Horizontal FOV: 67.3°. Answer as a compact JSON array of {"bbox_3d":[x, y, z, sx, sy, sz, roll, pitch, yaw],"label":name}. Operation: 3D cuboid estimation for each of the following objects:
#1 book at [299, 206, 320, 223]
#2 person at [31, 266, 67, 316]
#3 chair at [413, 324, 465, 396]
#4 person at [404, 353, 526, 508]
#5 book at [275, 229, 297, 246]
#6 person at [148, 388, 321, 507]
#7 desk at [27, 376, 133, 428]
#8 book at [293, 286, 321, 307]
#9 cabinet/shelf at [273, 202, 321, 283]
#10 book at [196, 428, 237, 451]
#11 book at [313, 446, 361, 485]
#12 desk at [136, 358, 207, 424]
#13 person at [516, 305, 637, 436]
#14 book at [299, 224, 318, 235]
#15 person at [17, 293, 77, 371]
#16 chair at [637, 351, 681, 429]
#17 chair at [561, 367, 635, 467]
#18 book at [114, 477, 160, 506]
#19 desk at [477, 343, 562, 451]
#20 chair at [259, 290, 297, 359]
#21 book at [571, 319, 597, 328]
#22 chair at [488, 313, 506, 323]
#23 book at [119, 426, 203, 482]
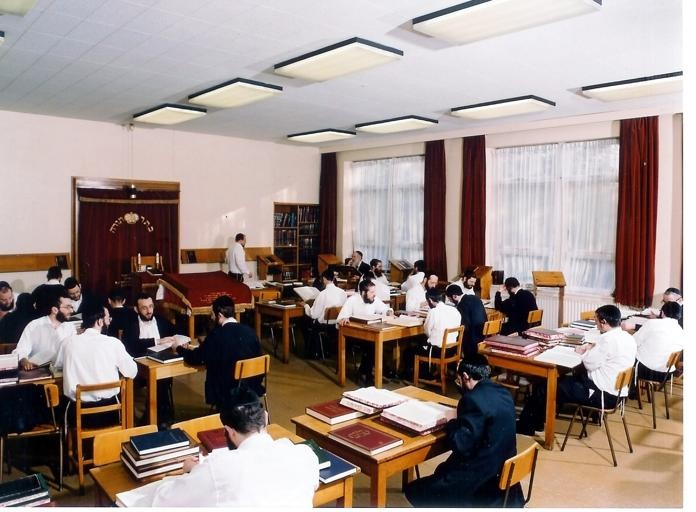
[{"bbox_3d":[-0.944,-1.022,12.728,0.507,0.498,0.367,-1,1,-42],"label":"book"},{"bbox_3d":[-4.092,0.632,7.184,0.406,1.040,0.336,7,20,-30],"label":"person"},{"bbox_3d":[1.129,1.363,6.952,0.531,0.813,0.535,5,0,4],"label":"chair"},{"bbox_3d":[0.877,1.361,4.017,0.789,1.152,0.351,-2,2,5],"label":"person"},{"bbox_3d":[-1.465,-0.426,12.299,0.481,0.473,0.348,0,1,-39],"label":"book"},{"bbox_3d":[-0.675,1.261,3.268,0.974,0.758,0.367,-2,2,-4],"label":"person"},{"bbox_3d":[-2.477,1.211,4.962,0.773,0.577,0.564,2,-6,-34],"label":"desk"},{"bbox_3d":[-0.621,0.648,8.448,0.296,0.109,0.295,-9,23,-37],"label":"book"},{"bbox_3d":[-1.251,-0.595,12.459,0.958,1.717,0.245,-3,40,-9],"label":"cabinet/shelf"},{"bbox_3d":[-0.988,1.351,3.837,0.271,0.065,0.274,3,10,-35],"label":"book"},{"bbox_3d":[-0.071,1.455,3.613,0.236,0.039,0.258,11,3,-17],"label":"book"},{"bbox_3d":[-1.952,1.337,5.710,0.747,0.712,0.747,-2,4,-37],"label":"desk"},{"bbox_3d":[2.475,1.277,5.801,1.081,1.606,0.685,15,2,36],"label":"person"},{"bbox_3d":[-0.959,-0.645,12.788,0.351,0.343,0.263,6,11,28],"label":"book"},{"bbox_3d":[-3.198,0.830,5.555,0.512,0.878,0.635,7,2,39],"label":"person"},{"bbox_3d":[3.784,1.590,6.536,0.433,0.801,0.495,4,2,-37],"label":"chair"},{"bbox_3d":[2.741,1.669,5.709,0.711,0.930,0.698,1,2,28],"label":"chair"},{"bbox_3d":[-1.329,1.534,3.324,0.181,0.044,0.182,9,10,41],"label":"book"},{"bbox_3d":[1.903,1.646,5.904,0.960,1.073,1.130,2,2,44],"label":"desk"},{"bbox_3d":[-1.166,1.082,8.273,0.479,0.603,0.648,8,-8,-4],"label":"chair"},{"bbox_3d":[3.083,0.892,6.837,0.219,0.058,0.238,-2,5,-20],"label":"book"},{"bbox_3d":[2.153,0.908,7.642,0.155,0.191,0.129,-6,12,-31],"label":"chair"},{"bbox_3d":[-1.286,1.344,3.606,0.335,0.141,0.329,7,7,44],"label":"book"}]
